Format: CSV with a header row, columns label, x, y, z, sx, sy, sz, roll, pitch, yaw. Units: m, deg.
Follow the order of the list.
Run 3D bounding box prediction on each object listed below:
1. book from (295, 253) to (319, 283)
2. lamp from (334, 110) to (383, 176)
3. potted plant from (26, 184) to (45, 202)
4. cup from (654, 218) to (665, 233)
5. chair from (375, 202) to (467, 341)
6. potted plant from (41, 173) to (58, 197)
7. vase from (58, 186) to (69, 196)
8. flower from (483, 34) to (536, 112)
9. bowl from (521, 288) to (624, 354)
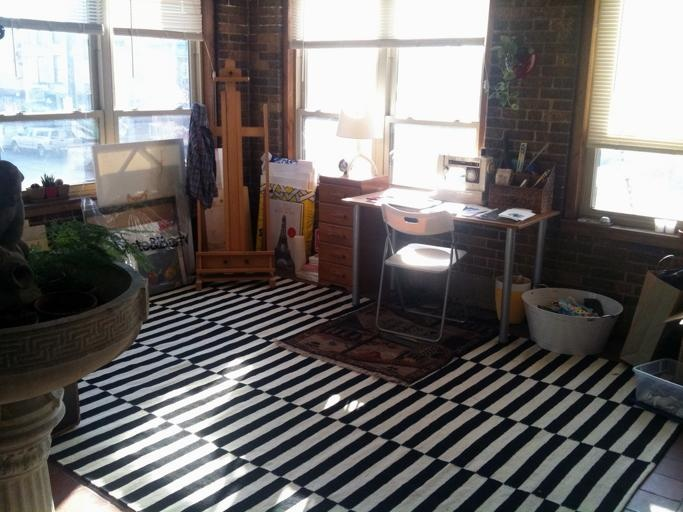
label,x,y,z,sx,sy,sz,roll,pitch,yaw
book,-0.336,0.114,5.351,0.252,0.155,0.258,10,16,36
lamp,0.182,-1.120,5.066,0.423,0.652,0.566,2,19,3
potted plant,-2.631,-0.543,4.368,0.157,0.141,0.116,-11,23,-31
cup,2.479,-0.242,4.022,0.087,0.091,0.086,-1,8,0
chair,0.723,0.133,4.488,0.751,1.221,0.768,10,31,28
potted plant,-2.555,-0.630,4.494,0.134,0.191,0.170,-9,22,-28
vase,-2.466,-0.584,4.570,0.094,0.103,0.078,-4,11,-35
flower,1.455,-1.577,4.381,0.394,0.627,0.162,8,20,20
bowl,1.812,0.518,4.007,0.623,0.292,0.535,3,17,8
